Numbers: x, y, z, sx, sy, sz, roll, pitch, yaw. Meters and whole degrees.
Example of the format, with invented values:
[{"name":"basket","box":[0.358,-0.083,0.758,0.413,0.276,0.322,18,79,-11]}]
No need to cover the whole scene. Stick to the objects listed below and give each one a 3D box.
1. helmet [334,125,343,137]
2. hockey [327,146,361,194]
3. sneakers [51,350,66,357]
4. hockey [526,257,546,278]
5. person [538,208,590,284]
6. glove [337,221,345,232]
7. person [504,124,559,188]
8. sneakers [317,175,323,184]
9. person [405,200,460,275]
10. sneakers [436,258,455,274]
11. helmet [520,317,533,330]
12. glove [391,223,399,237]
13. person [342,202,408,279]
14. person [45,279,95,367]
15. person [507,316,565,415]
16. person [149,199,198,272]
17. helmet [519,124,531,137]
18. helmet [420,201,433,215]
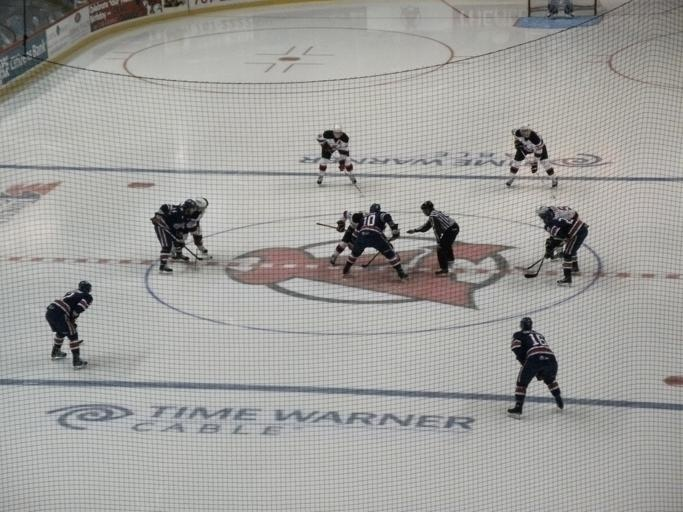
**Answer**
[{"name":"helmet","box":[-0.063,-2.282,20.653,0.159,0.278,0.140,-6,29,8]},{"name":"hockey","box":[0.145,-1.619,20.950,0.269,1.015,0.310,-43,17,-33]},{"name":"sneakers","box":[-4.047,1.407,16.134,0.240,0.144,0.070,-4,45,-15]},{"name":"hockey","box":[3.070,0.209,17.895,0.339,0.143,0.308,-57,16,-18]},{"name":"person","box":[3.504,-0.181,17.616,0.705,1.068,0.894,-5,28,9]},{"name":"glove","box":[-0.022,-0.505,18.605,0.152,0.156,0.185,0,7,-34]},{"name":"person","box":[3.508,-1.981,20.988,0.948,1.241,1.041,-4,28,9]},{"name":"sneakers","box":[-0.396,-1.436,21.159,0.079,0.185,0.130,4,42,1]},{"name":"person","box":[1.527,-0.293,17.954,0.686,1.046,0.704,-8,28,3]},{"name":"sneakers","box":[1.652,0.205,17.974,0.148,0.147,0.412,-1,4,24]},{"name":"helmet","box":[2.497,0.937,15.373,0.172,0.176,0.174,7,60,10]},{"name":"glove","box":[0.904,-0.421,18.212,0.071,0.230,0.147,-3,-1,18]},{"name":"person","box":[0.496,-0.223,17.873,0.992,1.145,0.764,-4,29,10]},{"name":"person","box":[-3.903,0.999,16.077,0.578,1.004,0.819,-1,29,17]},{"name":"person","box":[2.574,1.499,15.131,0.735,1.029,0.945,-4,27,10]},{"name":"person","box":[-2.732,-0.300,18.471,0.868,1.110,0.713,14,42,1]},{"name":"helmet","box":[3.360,-2.268,20.407,0.186,0.220,0.271,-15,27,-12]},{"name":"helmet","box":[1.354,-0.773,18.127,0.225,0.191,0.234,-6,-14,22]}]
